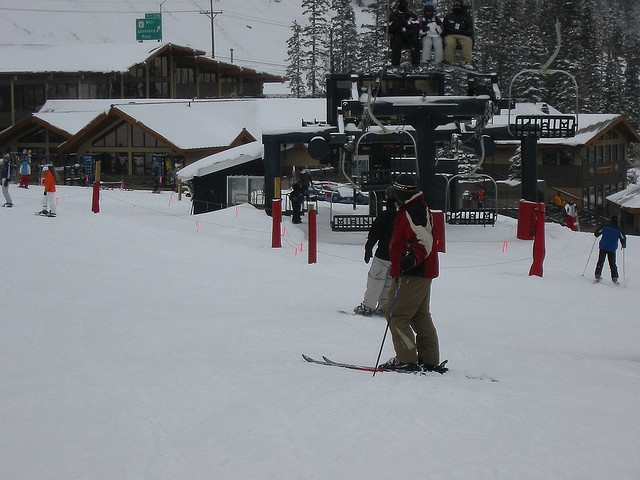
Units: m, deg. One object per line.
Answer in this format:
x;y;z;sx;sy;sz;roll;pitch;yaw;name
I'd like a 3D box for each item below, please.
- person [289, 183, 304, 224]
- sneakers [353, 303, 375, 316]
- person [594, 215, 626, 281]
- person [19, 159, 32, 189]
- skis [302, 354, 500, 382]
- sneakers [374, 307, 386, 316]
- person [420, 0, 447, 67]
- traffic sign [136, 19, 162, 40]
-0.754;-1.262;31.397;0.497;1.458;0.772;4;12;3;person
0.826;1.248;16.087;0.156;0.180;0.392;-1;8;-39;sneakers
6.911;0.272;21.411;0.718;1.617;2.044;8;13;18;person
-11.778;-2.554;36.166;0.379;1.353;2.110;-1;14;-19;person
1.177;1.921;13.385;2.512;0.140;0.280;3;-2;8;skis
1.101;1.287;16.083;0.109;0.143;0.155;1;4;-1;sneakers
2.844;-5.107;22.482;0.639;1.482;0.918;5;12;6;person
-16.053;-19.907;85.725;2.210;2.075;0.252;3;13;11;traffic sign
